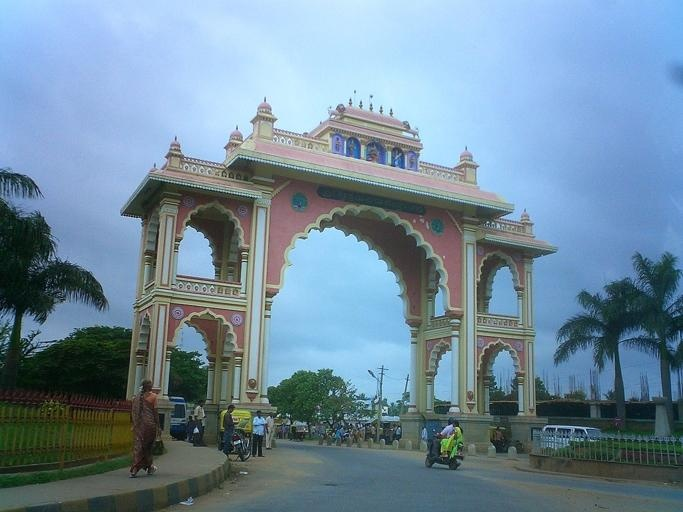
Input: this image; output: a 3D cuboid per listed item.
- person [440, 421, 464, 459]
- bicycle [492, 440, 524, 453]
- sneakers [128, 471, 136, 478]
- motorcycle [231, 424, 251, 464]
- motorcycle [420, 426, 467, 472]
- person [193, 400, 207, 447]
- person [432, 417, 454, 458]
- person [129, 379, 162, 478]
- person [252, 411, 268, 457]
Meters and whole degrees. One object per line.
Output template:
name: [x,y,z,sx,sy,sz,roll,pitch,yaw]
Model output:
person: [3.180,4.891,17.301,0.409,0.671,1.142,-13,6,3]
bicycle: [7.089,8.091,26.355,0.907,0.576,2.026,4,-18,-3]
sneakers: [-3.302,3.452,9.794,0.109,0.126,0.143,-1,-6,-2]
motorcycle: [-2.704,5.109,16.853,0.496,0.619,0.951,-1,-25,-6]
motorcycle: [2.818,5.258,17.064,0.506,1.097,1.585,13,-20,-23]
person: [-4.389,5.163,19.246,0.353,1.351,1.307,6,-17,-11]
person: [2.881,5.033,17.131,0.450,0.580,0.876,8,-8,-4]
person: [-3.208,2.811,10.141,0.486,1.521,0.628,7,-17,-15]
person: [-2.388,5.138,17.991,0.363,1.290,1.378,5,-17,-6]
